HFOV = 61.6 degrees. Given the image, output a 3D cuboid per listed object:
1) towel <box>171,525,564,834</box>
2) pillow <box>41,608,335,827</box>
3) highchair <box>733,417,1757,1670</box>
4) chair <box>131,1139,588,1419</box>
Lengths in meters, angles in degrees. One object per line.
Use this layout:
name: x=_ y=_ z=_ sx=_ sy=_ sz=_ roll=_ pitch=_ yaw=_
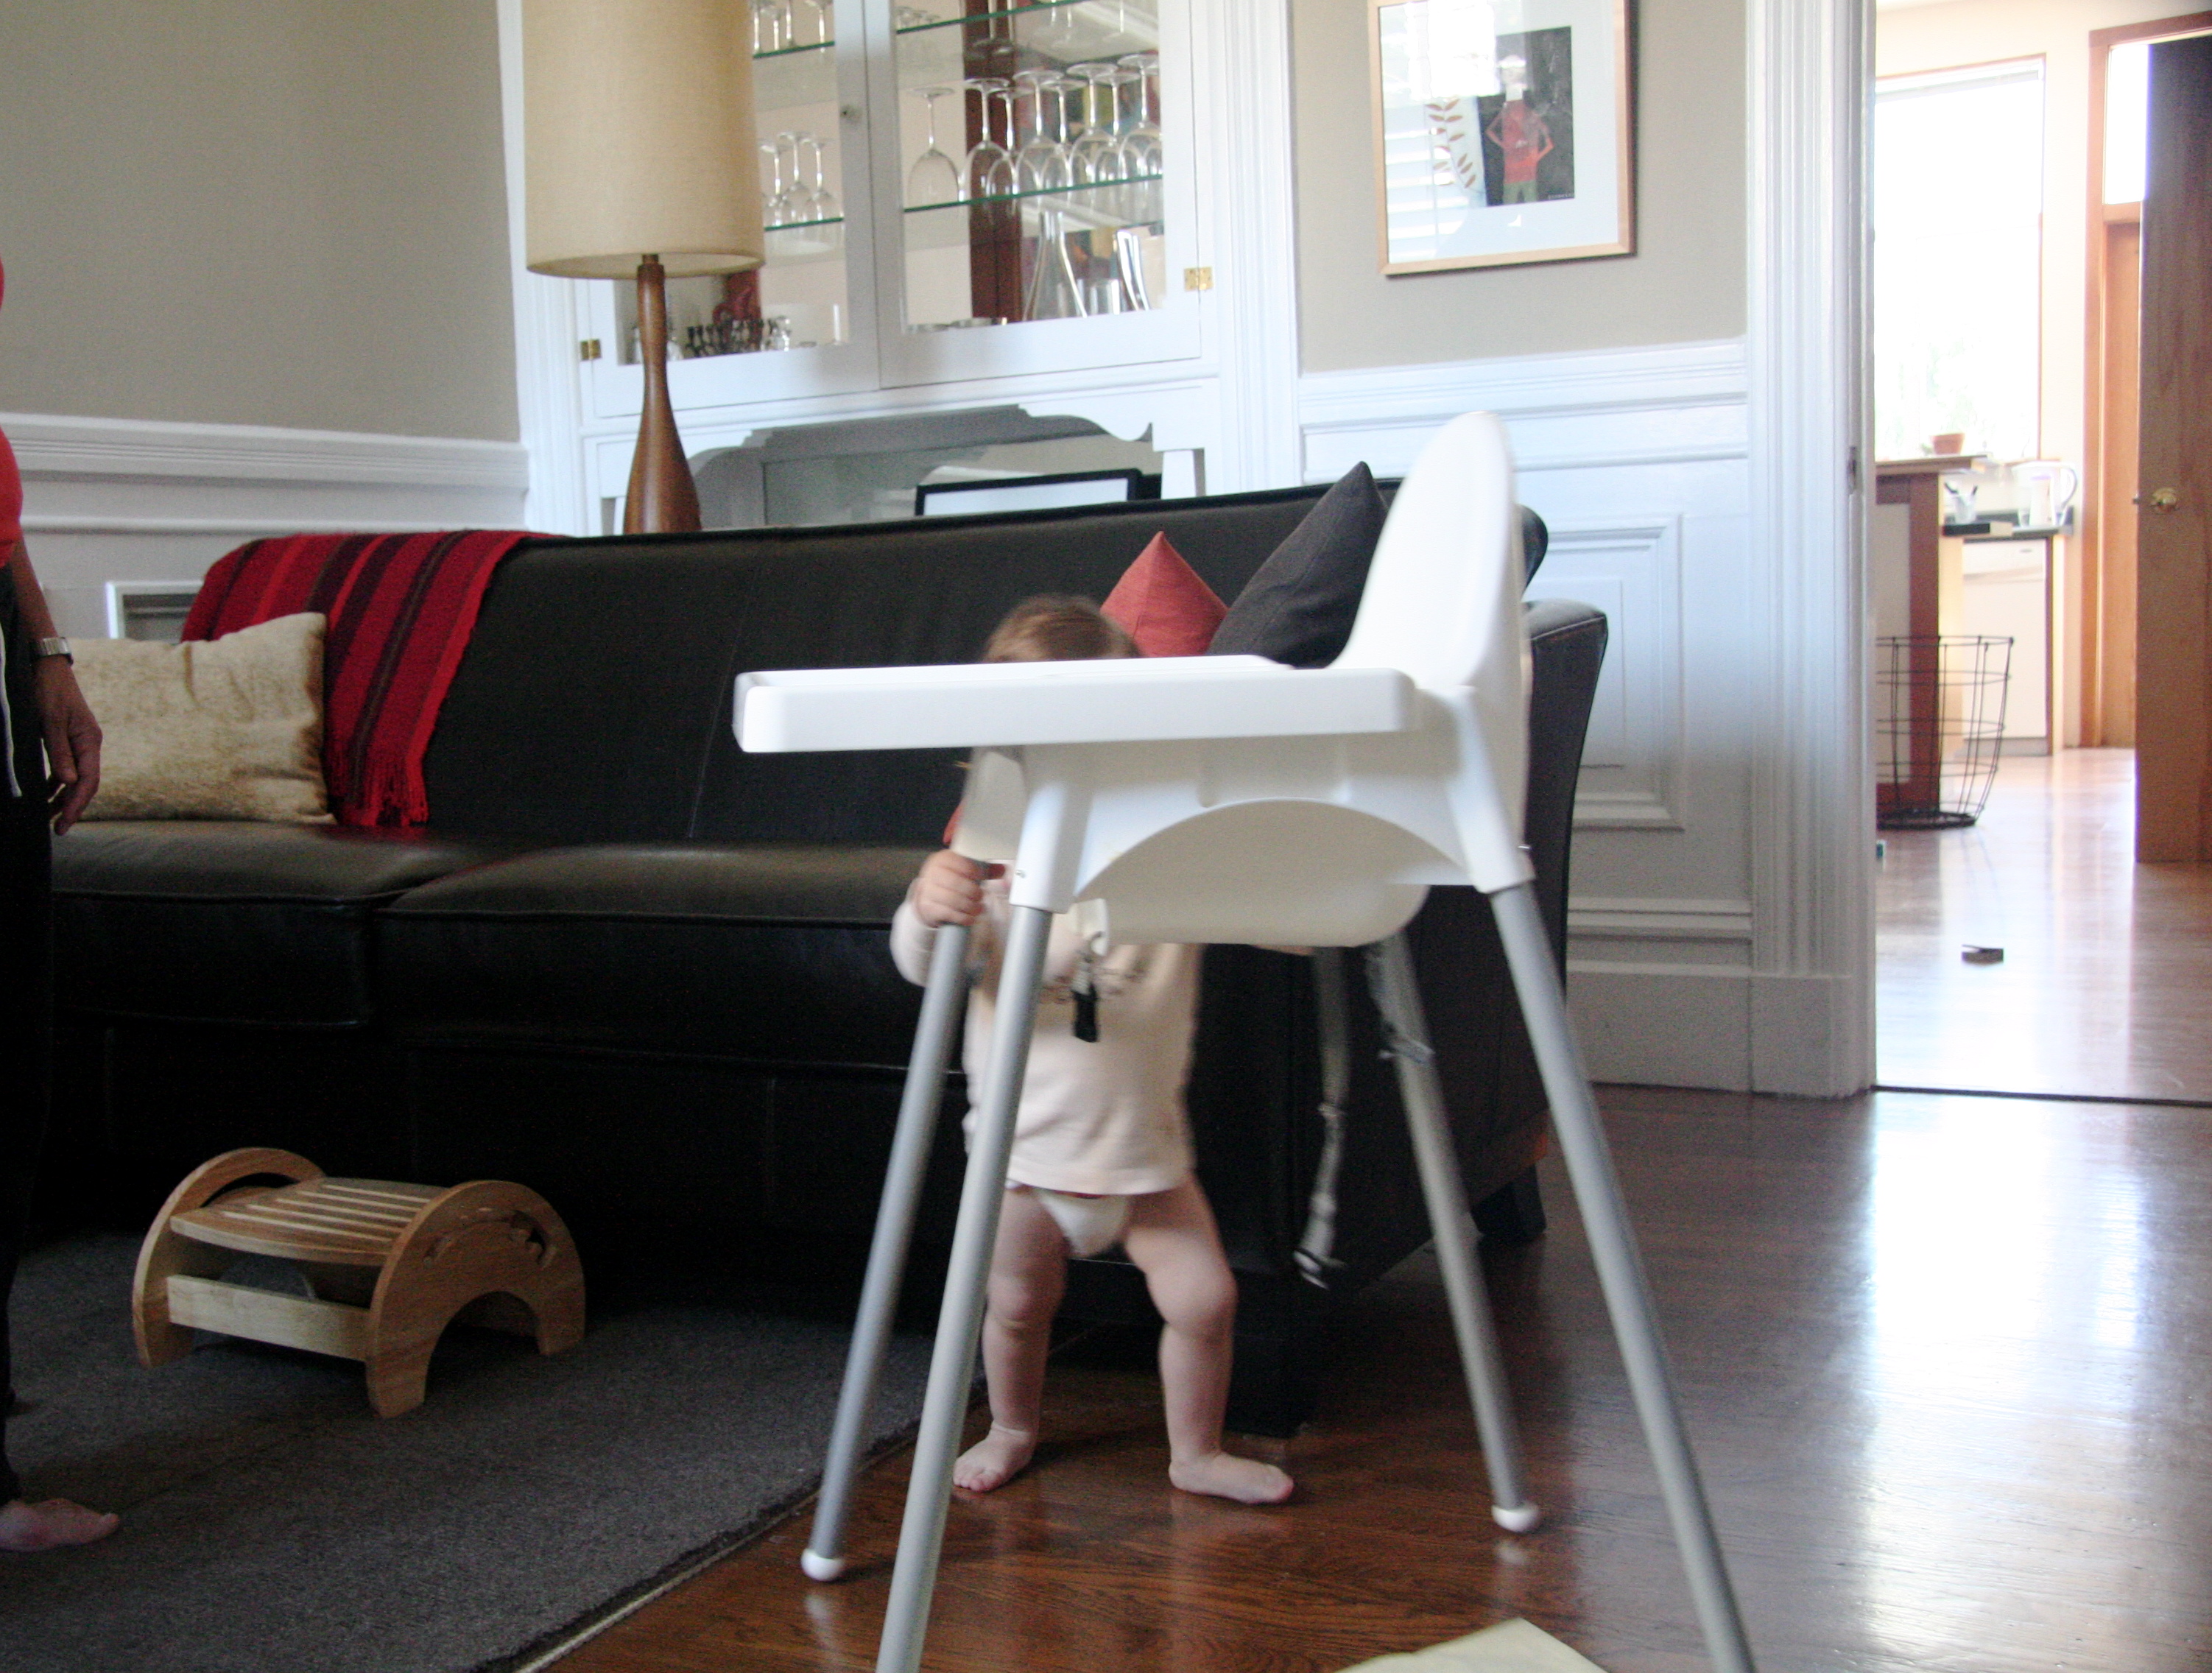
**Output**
towel: x=-1.120 y=-0.300 z=2.808 sx=0.510 sy=0.523 sz=0.127 roll=8 pitch=-4 yaw=21
pillow: x=-1.389 y=-0.172 z=2.777 sx=0.395 sy=0.314 sz=0.152 roll=-3 pitch=6 yaw=1
highchair: x=0.197 y=0.122 z=1.781 sx=0.927 sy=1.187 sz=0.730 roll=1 pitch=0 yaw=-3
chair: x=-0.824 y=0.466 z=2.025 sx=0.367 sy=0.211 sz=0.326 roll=2 pitch=5 yaw=28
